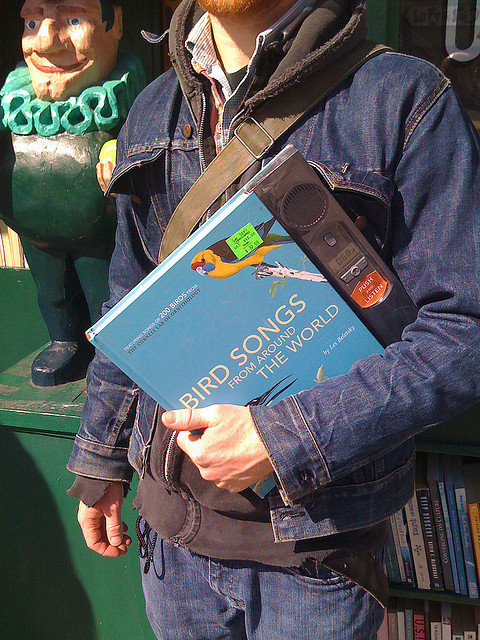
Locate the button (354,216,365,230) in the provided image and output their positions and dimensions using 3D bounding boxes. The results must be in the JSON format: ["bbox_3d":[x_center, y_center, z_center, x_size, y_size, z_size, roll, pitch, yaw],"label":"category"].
[{"bbox_3d":[0.130,-0.105,0.696,0.013,0.012,0.003,-5,15,-20],"label":"button"}]

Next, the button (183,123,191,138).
[{"bbox_3d":[-0.068,-0.240,0.813,0.004,0.015,0.015,-6,25,-31],"label":"button"}]

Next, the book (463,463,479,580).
[{"bbox_3d":[0.500,0.399,1.386,0.037,0.132,0.252,5,39,15],"label":"book"}]

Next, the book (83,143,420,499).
[{"bbox_3d":[0.014,-0.016,0.664,0.327,0.325,0.075,-41,11,5],"label":"book"}]
